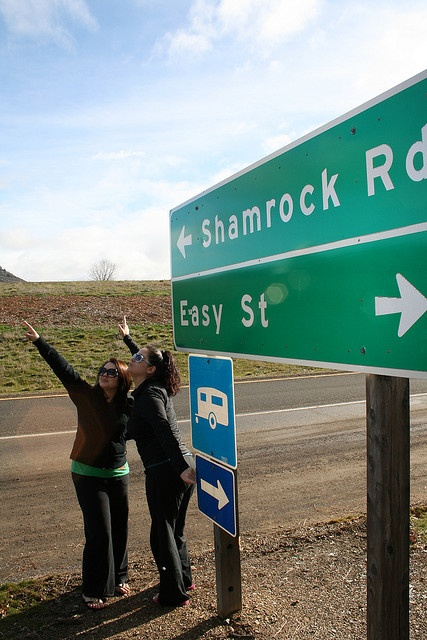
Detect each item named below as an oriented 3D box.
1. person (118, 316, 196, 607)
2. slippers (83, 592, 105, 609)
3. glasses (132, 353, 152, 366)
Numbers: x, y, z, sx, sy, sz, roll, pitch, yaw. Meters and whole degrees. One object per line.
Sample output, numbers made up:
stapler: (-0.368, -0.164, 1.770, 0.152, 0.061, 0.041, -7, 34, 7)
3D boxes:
person: (-0.348, 1.069, 3.330, 0.449, 1.869, 0.822, -2, 0, -7)
slippers: (-0.810, 1.927, 3.341, 0.151, 0.092, 0.080, -2, 0, 6)
glasses: (-0.525, 0.277, 3.507, 0.080, 0.036, 0.097, 1, -28, 48)
